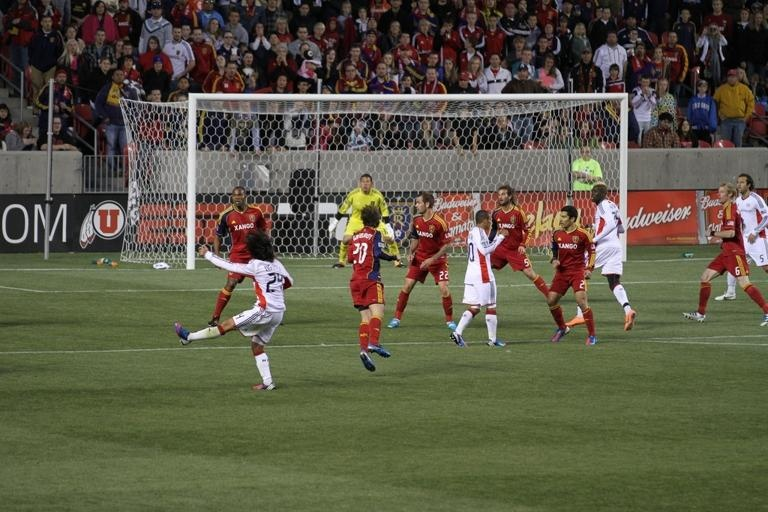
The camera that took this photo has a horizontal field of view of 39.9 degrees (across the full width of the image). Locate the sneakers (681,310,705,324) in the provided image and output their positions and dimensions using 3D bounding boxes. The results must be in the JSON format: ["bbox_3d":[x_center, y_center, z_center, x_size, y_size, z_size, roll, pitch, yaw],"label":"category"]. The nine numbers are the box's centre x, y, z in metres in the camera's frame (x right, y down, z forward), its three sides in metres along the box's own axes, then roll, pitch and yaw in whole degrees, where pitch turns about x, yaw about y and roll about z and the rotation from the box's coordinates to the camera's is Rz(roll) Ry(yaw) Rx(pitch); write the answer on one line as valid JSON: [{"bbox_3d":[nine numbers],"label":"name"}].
[{"bbox_3d":[5.150,1.007,17.569,0.410,0.204,0.136,11,7,15],"label":"sneakers"}]

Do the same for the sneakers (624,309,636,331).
[{"bbox_3d":[3.855,1.009,16.652,0.133,0.338,0.155,3,23,-19],"label":"sneakers"}]

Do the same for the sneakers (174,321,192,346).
[{"bbox_3d":[-2.852,1.109,15.000,0.196,0.413,0.155,-19,3,11],"label":"sneakers"}]

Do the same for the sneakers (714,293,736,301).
[{"bbox_3d":[6.309,0.747,19.590,0.422,0.167,0.164,1,3,2],"label":"sneakers"}]

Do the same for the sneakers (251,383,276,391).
[{"bbox_3d":[-1.548,1.662,13.572,0.287,0.121,0.103,5,-1,6],"label":"sneakers"}]

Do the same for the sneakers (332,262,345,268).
[{"bbox_3d":[-0.962,0.201,22.695,0.309,0.199,0.104,6,-5,-40],"label":"sneakers"}]

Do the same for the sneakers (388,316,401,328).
[{"bbox_3d":[0.168,1.075,17.116,0.177,0.205,0.475,0,-2,12],"label":"sneakers"}]

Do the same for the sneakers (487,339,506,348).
[{"bbox_3d":[1.672,1.299,15.817,0.286,0.114,0.099,1,4,-10],"label":"sneakers"}]

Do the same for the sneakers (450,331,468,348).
[{"bbox_3d":[1.090,1.215,15.644,0.190,0.252,0.465,0,0,3],"label":"sneakers"}]
